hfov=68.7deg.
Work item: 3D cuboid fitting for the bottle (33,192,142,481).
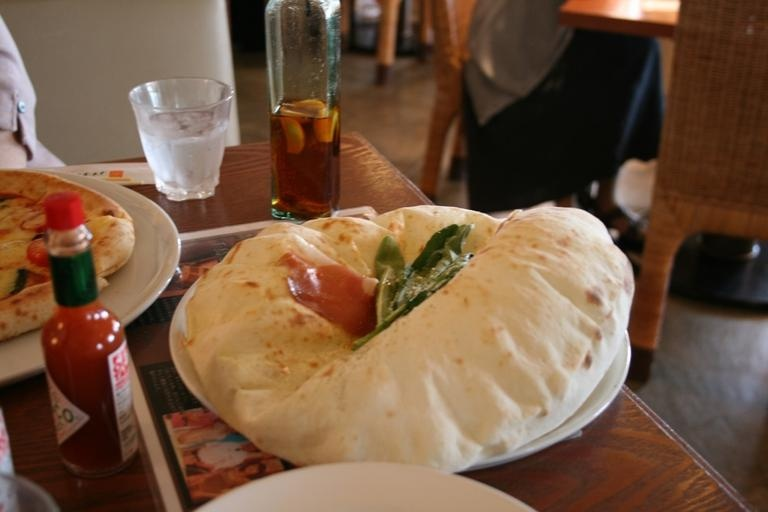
[{"bbox_3d":[-0.272,0.079,0.492,0.073,0.280,0.059,-2,33,-9],"label":"bottle"}]

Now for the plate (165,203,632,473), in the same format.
[{"bbox_3d":[0.015,0.114,0.571,0.374,0.091,0.308,-5,37,-13],"label":"plate"}]
